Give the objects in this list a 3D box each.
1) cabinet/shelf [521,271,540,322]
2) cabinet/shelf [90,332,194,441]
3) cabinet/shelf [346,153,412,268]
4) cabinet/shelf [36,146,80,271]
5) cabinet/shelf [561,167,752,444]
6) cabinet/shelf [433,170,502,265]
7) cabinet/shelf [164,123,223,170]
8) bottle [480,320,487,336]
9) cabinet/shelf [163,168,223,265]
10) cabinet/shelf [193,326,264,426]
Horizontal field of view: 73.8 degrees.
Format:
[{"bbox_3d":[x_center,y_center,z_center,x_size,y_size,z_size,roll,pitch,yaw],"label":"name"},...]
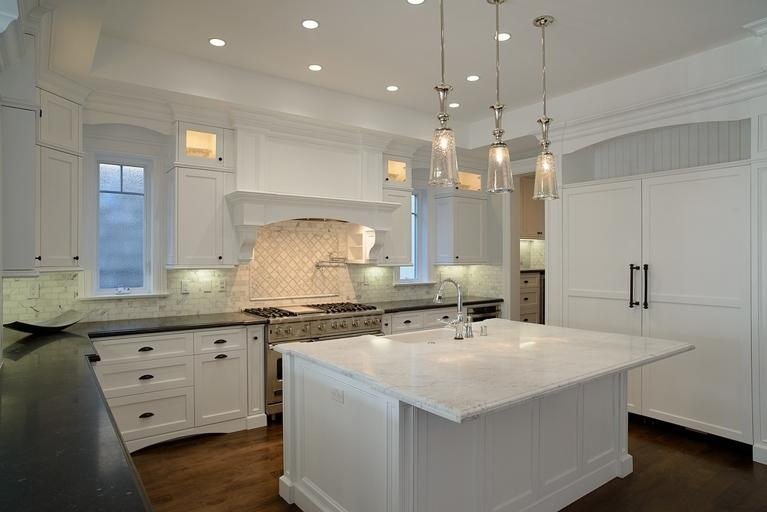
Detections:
[{"bbox_3d":[2.472,0.698,8.569,0.631,0.878,0.191,-9,14,-42],"label":"cabinet/shelf"},{"bbox_3d":[-2.568,1.282,5.488,1.052,1.282,0.978,1,15,-10],"label":"cabinet/shelf"},{"bbox_3d":[0.020,-0.609,7.065,0.507,1.538,0.675,5,5,44],"label":"cabinet/shelf"},{"bbox_3d":[-3.109,-0.433,4.935,0.146,1.165,0.441,8,7,13],"label":"cabinet/shelf"},{"bbox_3d":[3.185,0.479,6.065,1.886,3.003,0.792,2,9,42],"label":"cabinet/shelf"},{"bbox_3d":[1.308,-0.528,7.841,1.122,1.365,0.497,-4,11,-20],"label":"cabinet/shelf"},{"bbox_3d":[-2.074,-1.245,5.765,0.556,0.514,0.264,-4,11,-20],"label":"cabinet/shelf"},{"bbox_3d":[0.974,0.708,4.969,0.071,0.093,0.073,0,-2,0],"label":"bottle"},{"bbox_3d":[-2.115,-0.510,5.911,0.581,1.217,0.461,3,23,-17],"label":"cabinet/shelf"},{"bbox_3d":[-1.891,1.310,5.719,0.995,1.071,0.920,-1,-2,-17],"label":"cabinet/shelf"}]
